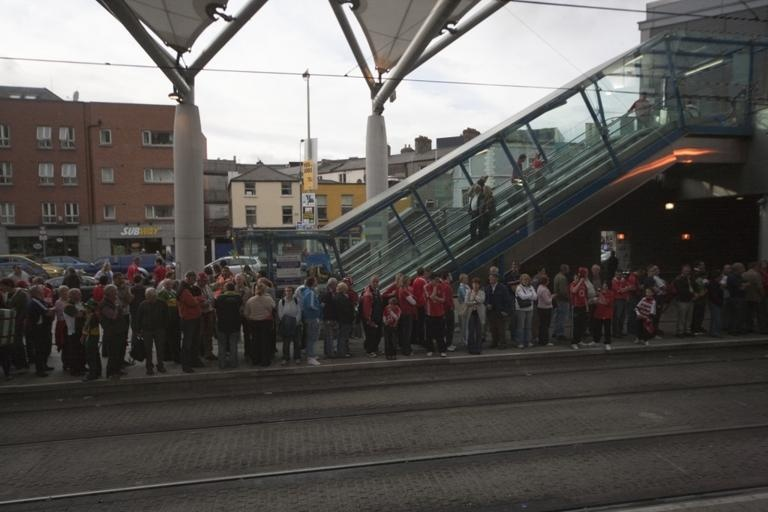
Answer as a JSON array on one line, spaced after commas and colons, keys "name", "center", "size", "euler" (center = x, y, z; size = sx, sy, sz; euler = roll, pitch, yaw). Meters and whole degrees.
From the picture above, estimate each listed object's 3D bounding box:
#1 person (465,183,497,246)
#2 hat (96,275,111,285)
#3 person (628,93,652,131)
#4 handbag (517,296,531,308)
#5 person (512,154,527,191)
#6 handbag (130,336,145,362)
[{"name": "person", "center": [3.468, -1.525, 28.962], "size": [0.894, 2.170, 0.429], "euler": [-2, 0, 5]}, {"name": "hat", "center": [-8.957, 0.750, 26.089], "size": [0.192, 0.266, 0.265], "euler": [16, -40, -23]}, {"name": "person", "center": [9.289, -5.299, 29.841], "size": [0.818, 1.700, 0.719], "euler": [12, 38, 38]}, {"name": "handbag", "center": [4.470, 1.484, 26.447], "size": [0.395, 0.323, 0.551], "euler": [-4, 15, -12]}, {"name": "person", "center": [4.803, -3.022, 29.113], "size": [0.562, 1.238, 0.243], "euler": [-2, 0, 10]}, {"name": "handbag", "center": [-7.395, 2.761, 24.619], "size": [0.301, 0.671, 0.625], "euler": [-2, -1, -41]}]
